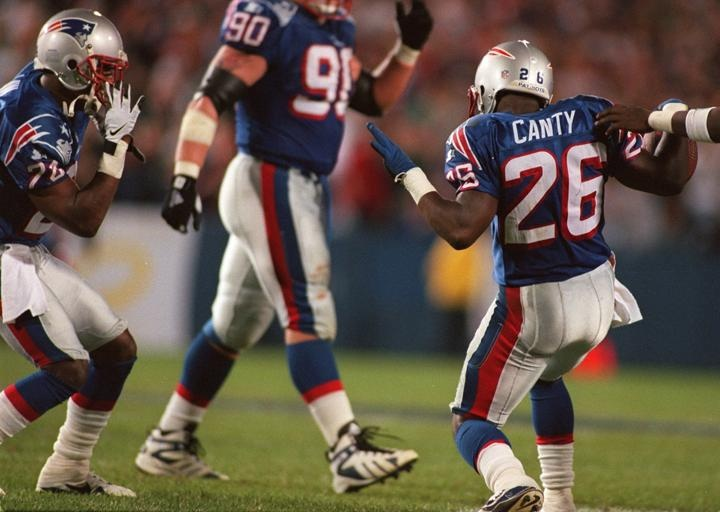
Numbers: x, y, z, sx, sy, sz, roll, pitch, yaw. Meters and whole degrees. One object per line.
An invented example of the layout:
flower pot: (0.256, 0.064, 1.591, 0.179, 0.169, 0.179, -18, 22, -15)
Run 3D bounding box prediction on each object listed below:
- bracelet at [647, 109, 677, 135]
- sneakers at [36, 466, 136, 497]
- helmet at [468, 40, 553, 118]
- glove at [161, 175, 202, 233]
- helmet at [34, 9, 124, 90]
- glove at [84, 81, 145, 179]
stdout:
bracelet: (1.582, -0.706, 5.091, 0.127, 0.099, 0.104, -5, 4, 23)
sneakers: (-1.523, 1.244, 5.397, 0.599, 0.216, 0.199, 2, -6, -13)
helmet: (0.815, -0.993, 5.406, 0.357, 0.395, 0.437, -2, 14, -13)
glove: (-0.989, -0.273, 5.256, 0.086, 0.300, 0.243, -6, -22, 45)
helmet: (-1.483, -1.149, 5.371, 0.507, 0.419, 0.383, 1, 13, -7)
glove: (-1.358, -0.664, 5.380, 0.342, 0.490, 0.159, 11, -16, -11)
